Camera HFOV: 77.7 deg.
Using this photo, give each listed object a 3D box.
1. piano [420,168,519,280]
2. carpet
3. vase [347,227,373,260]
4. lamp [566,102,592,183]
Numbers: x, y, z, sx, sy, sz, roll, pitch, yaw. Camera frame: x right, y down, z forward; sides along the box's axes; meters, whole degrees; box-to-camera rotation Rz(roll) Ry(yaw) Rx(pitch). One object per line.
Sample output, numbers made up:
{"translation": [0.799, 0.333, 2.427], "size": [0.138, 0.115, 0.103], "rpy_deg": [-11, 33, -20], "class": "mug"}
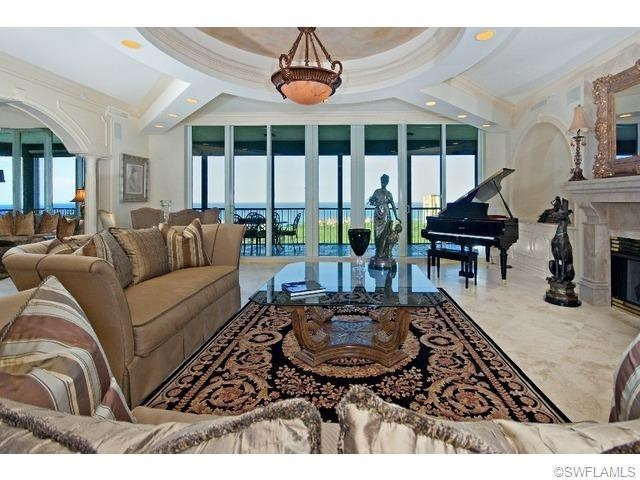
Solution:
{"translation": [1.856, -0.120, 5.469], "size": [1.561, 1.696, 1.178], "rpy_deg": [3, -3, -42], "class": "piano"}
{"translation": [0.193, 0.798, 2.803], "size": [2.052, 0.025, 2.380], "rpy_deg": [-3, 3, 7], "class": "carpet"}
{"translation": [0.320, 0.023, 3.358], "size": [0.208, 0.246, 0.225], "rpy_deg": [0, 1, 1], "class": "vase"}
{"translation": [2.713, -1.012, 4.181], "size": [0.183, 0.812, 0.742], "rpy_deg": [5, 8, 33], "class": "lamp"}
